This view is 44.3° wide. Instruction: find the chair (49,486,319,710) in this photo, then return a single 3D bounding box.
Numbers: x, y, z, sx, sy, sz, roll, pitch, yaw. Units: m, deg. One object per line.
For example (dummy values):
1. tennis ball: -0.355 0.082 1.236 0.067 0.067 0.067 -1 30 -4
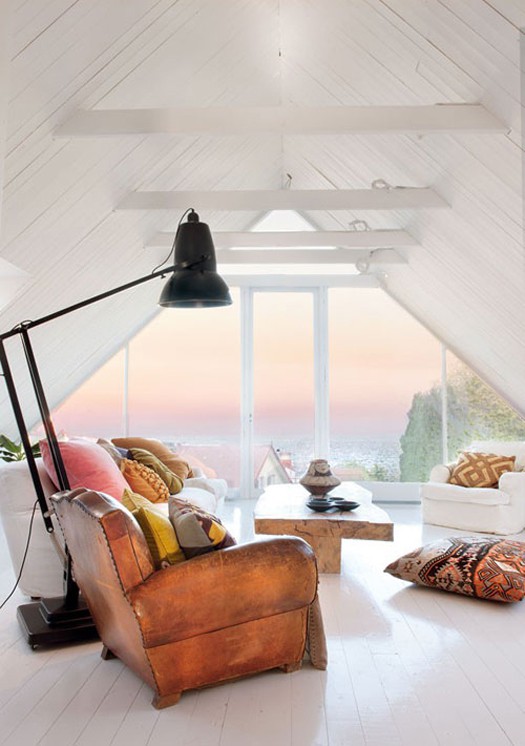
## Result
1. chair: -0.284 0.671 2.358 0.777 0.623 0.759 -2 0 -31
